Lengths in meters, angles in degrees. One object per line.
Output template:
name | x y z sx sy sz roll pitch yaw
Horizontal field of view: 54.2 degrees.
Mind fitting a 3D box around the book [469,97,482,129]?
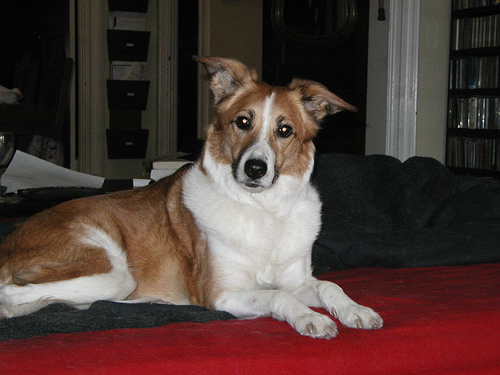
book | 2.387 -0.802 5.191 0.102 0.311 0.044 10 16 30

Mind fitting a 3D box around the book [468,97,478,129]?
book | 2.378 -0.808 5.199 0.031 0.322 0.111 -8 17 -35

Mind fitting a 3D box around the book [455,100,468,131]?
book | 2.289 -0.807 5.270 0.161 0.290 0.045 7 15 21

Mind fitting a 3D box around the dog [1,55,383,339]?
dog | -0.380 0.070 2.220 1.570 0.905 1.019 2 1 45

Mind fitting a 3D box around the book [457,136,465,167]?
book | 2.262 -0.403 5.265 0.060 0.232 0.253 5 -2 17
